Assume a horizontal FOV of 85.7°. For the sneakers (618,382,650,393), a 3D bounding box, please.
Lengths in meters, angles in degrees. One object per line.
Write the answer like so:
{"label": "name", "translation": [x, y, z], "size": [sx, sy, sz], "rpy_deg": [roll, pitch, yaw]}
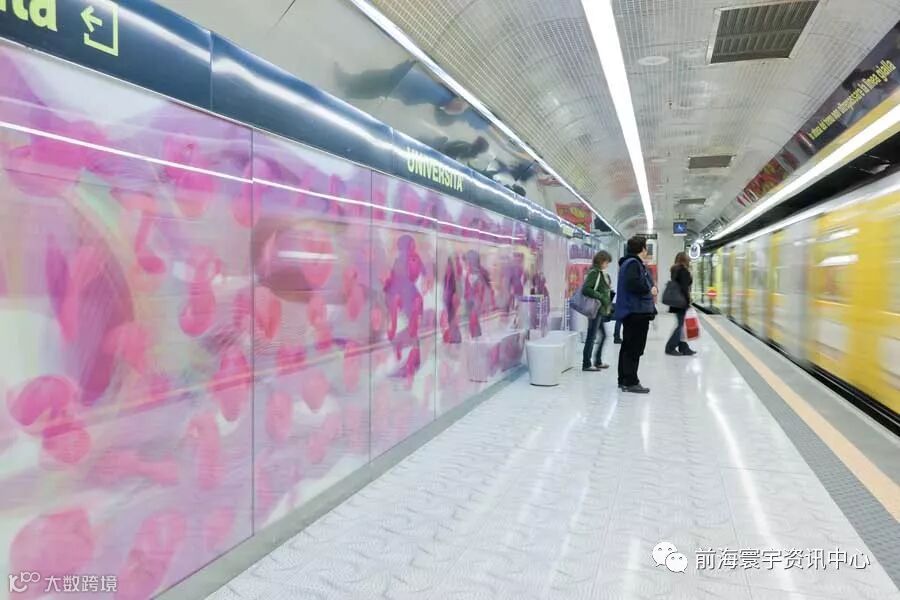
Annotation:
{"label": "sneakers", "translation": [2.560, 1.189, 6.714], "size": [0.387, 0.159, 0.151], "rpy_deg": [-1, -1, 14]}

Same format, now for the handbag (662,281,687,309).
{"label": "handbag", "translation": [4.018, -0.098, 8.599], "size": [0.254, 0.458, 0.483], "rpy_deg": [-11, 15, -10]}

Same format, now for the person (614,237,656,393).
{"label": "person", "translation": [2.519, 0.198, 6.575], "size": [0.473, 2.147, 0.625], "rpy_deg": [1, 5, 20]}
